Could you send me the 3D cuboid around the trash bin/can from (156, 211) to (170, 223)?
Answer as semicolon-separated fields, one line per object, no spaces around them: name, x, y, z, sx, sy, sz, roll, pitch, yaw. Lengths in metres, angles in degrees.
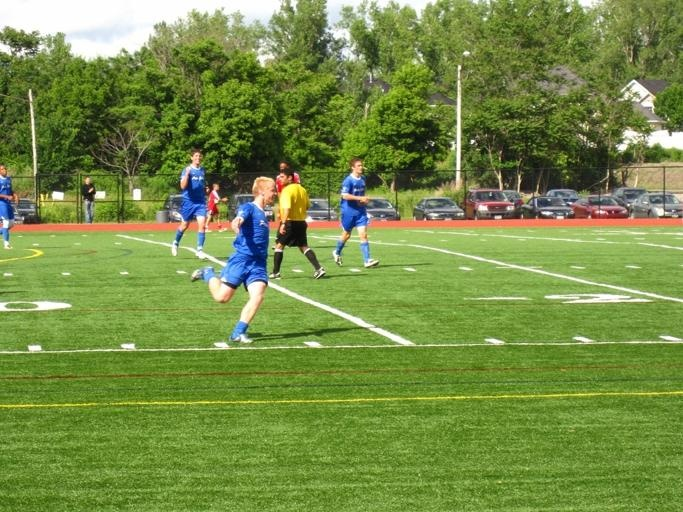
trash bin/can;-6.525;-1.433;39.869;0.485;0.380;0.440;2;3;-2

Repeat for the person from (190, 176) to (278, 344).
person;-1.235;0.047;13.203;0.845;1.973;0.875;0;16;-4

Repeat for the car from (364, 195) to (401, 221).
car;1.405;-1.668;39.637;0.851;0.594;1.782;-1;1;-4
